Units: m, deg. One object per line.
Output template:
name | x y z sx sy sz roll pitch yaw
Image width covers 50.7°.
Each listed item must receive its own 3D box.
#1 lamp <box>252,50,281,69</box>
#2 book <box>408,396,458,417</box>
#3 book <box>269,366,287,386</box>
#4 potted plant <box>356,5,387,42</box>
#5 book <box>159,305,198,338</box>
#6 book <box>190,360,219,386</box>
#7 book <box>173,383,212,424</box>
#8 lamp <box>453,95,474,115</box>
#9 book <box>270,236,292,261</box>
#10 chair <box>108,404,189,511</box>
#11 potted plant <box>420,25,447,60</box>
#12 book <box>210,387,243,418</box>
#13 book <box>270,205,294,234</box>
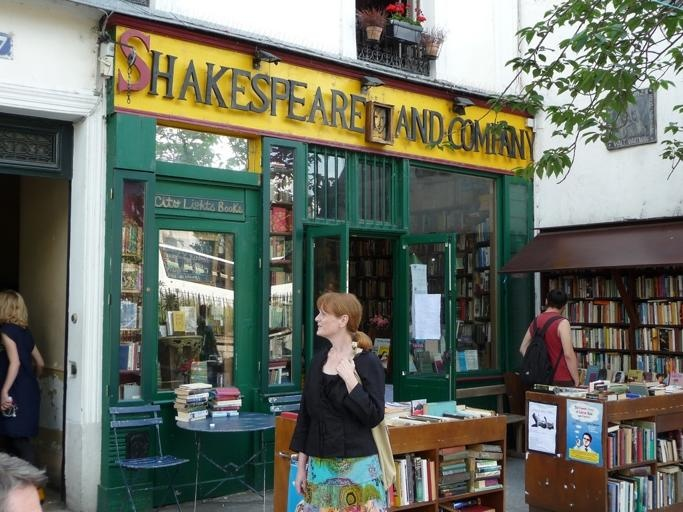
lamp | -0.894 -2.323 8.428 0.246 0.179 0.225 3 5 38
book | 0.843 1.415 6.649 0.257 0.105 0.200 3 -5 -37
book | -0.750 1.438 8.573 0.240 0.272 0.172 3 -4 -43
potted plant | 0.437 -3.119 9.676 0.396 0.489 0.424 -3 -8 24
book | -1.834 0.742 8.021 0.310 0.297 0.102 4 -12 -37
book | -1.565 1.338 8.171 0.246 0.484 0.244 6 -10 -44
book | -1.545 1.497 7.617 0.300 0.483 0.457 -5 -7 36
lamp | 1.710 -2.141 10.185 0.244 0.216 0.186 3 -9 -32
book | -0.723 -0.091 8.678 0.232 0.484 0.254 2 -5 -1
chair | -1.988 2.106 7.389 0.725 1.104 0.800 2 -8 -26
potted plant | 1.288 -2.952 10.122 0.356 0.466 0.396 -1 -5 19
book | -1.226 1.560 7.628 0.346 0.296 0.215 2 -8 -26
book | -0.720 -0.451 8.693 0.286 0.306 0.076 0 0 -39
